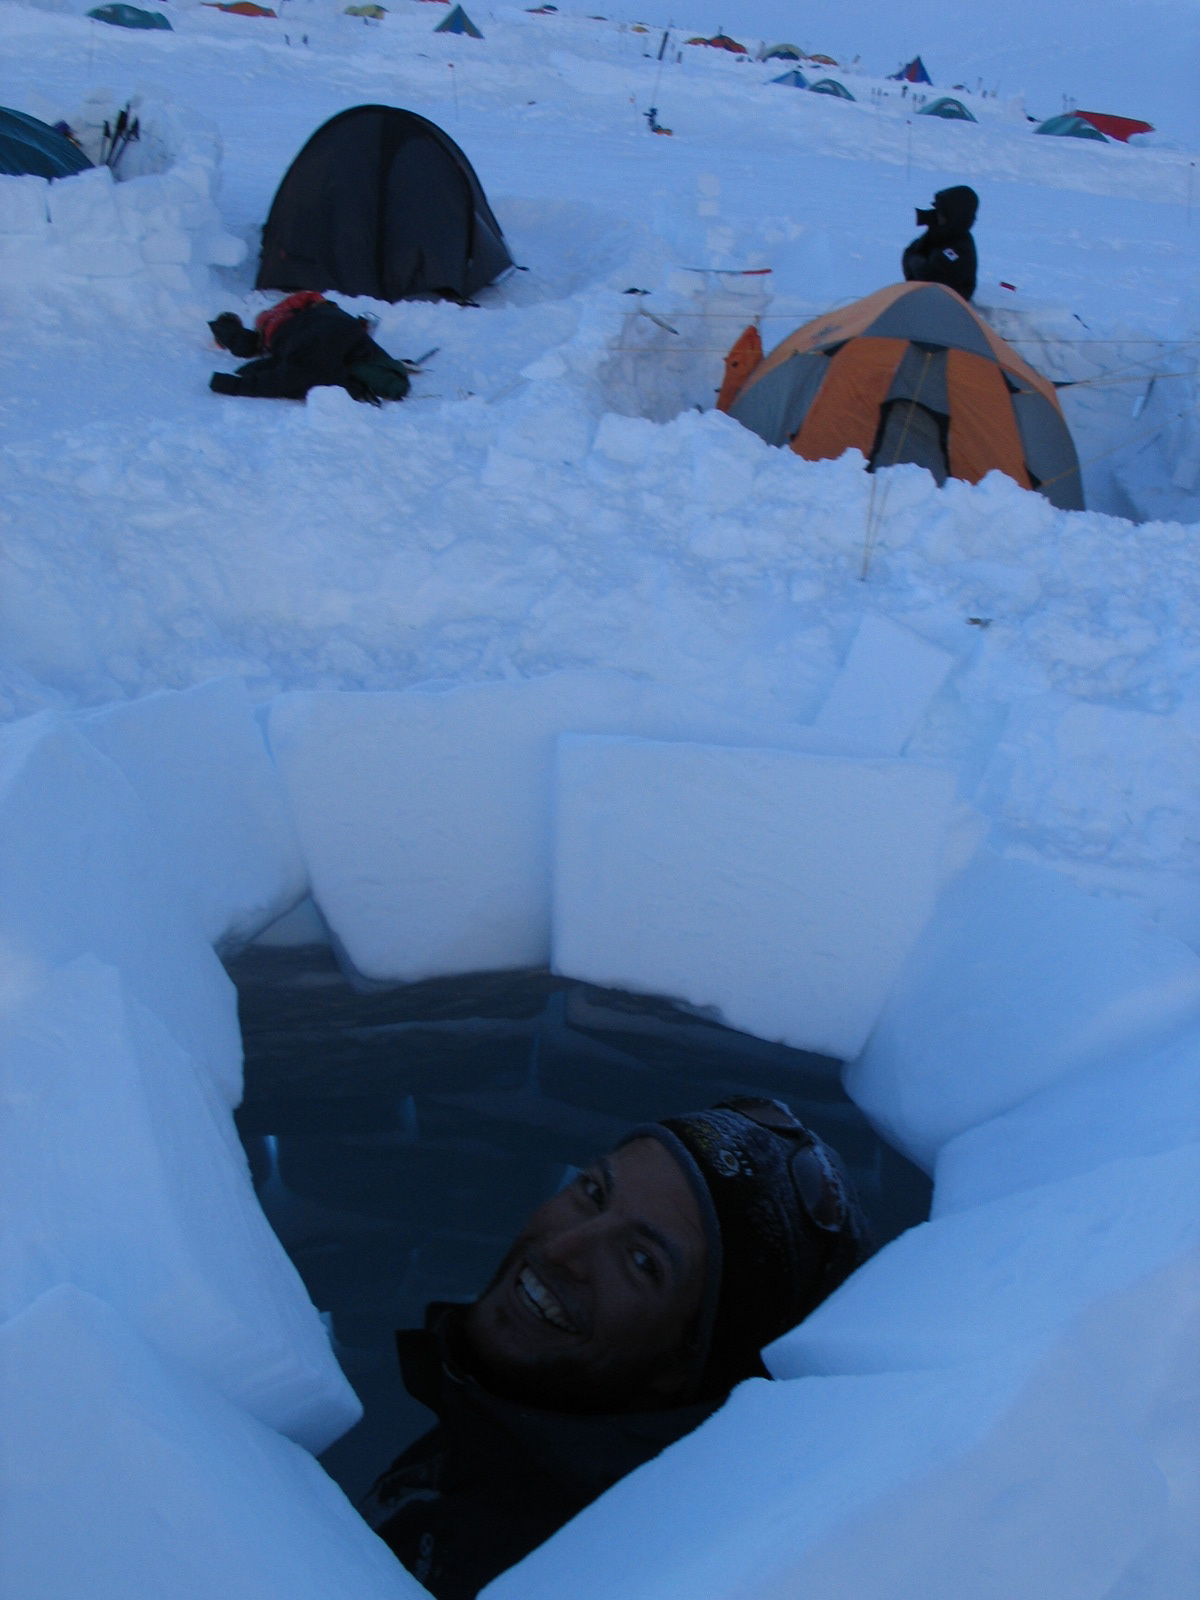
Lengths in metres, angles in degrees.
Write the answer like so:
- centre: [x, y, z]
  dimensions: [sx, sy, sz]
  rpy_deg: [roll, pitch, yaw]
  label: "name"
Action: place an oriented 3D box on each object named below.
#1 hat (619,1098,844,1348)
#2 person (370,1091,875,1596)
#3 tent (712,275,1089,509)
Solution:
- centre: [0.354, 0.854, 3.459]
  dimensions: [0.402, 0.339, 0.492]
  rpy_deg: [-23, 1, 12]
  label: "hat"
- centre: [0.031, 1.049, 3.291]
  dimensions: [0.601, 1.026, 0.403]
  rpy_deg: [51, 5, 19]
  label: "person"
- centre: [1.254, -1.568, 6.258]
  dimensions: [1.180, 0.562, 1.131]
  rpy_deg: [13, 47, -1]
  label: "tent"
